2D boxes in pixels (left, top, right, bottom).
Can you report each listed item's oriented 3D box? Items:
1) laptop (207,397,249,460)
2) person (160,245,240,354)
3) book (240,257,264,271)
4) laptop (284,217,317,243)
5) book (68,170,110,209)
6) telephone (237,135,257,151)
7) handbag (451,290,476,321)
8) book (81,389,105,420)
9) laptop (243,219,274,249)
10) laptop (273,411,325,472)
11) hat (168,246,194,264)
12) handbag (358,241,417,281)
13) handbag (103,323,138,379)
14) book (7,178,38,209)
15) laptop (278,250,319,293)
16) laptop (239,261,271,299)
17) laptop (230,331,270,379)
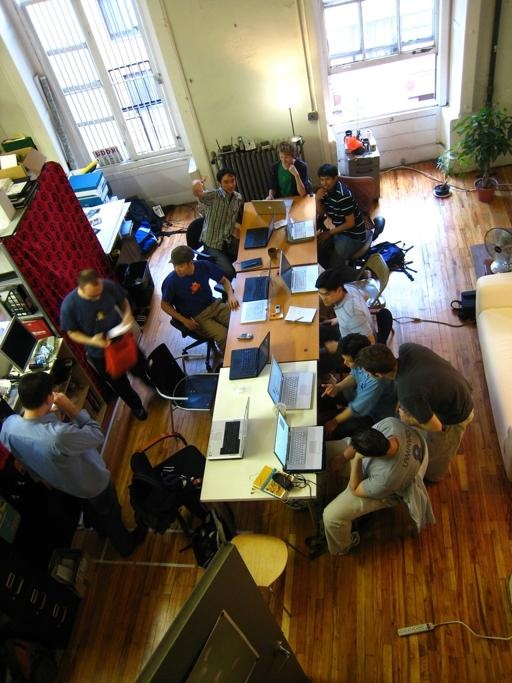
[{"bbox_3d":[-0.211,0.580,2.953,0.275,0.218,0.357,0,53,15],"label":"laptop"},{"bbox_3d":[-0.524,-0.386,4.464,0.575,1.013,0.510,20,78,23],"label":"person"},{"bbox_3d":[-0.053,-0.743,4.504,0.164,0.039,0.163,-6,39,6],"label":"book"},{"bbox_3d":[0.467,-1.131,4.754,0.253,0.229,0.354,-3,54,17],"label":"laptop"},{"bbox_3d":[-2.361,-2.154,6.564,0.467,0.411,0.438,-30,39,-11],"label":"book"},{"bbox_3d":[-0.150,-2.714,6.356,0.228,0.180,0.171,-17,39,5],"label":"telephone"},{"bbox_3d":[2.045,-0.340,4.474,0.303,0.138,0.228,-4,40,22],"label":"handbag"},{"bbox_3d":[-1.465,0.566,4.077,0.092,0.234,0.213,-11,38,11],"label":"book"},{"bbox_3d":[0.015,-1.093,4.817,0.395,0.092,0.264,12,77,37],"label":"laptop"},{"bbox_3d":[0.267,0.629,2.797,0.296,0.233,0.380,-4,51,16],"label":"laptop"},{"bbox_3d":[-0.640,-0.722,3.959,0.138,0.107,0.185,7,43,8],"label":"hat"},{"bbox_3d":[1.493,-0.948,5.200,0.630,0.190,0.483,9,85,10],"label":"handbag"},{"bbox_3d":[-1.161,0.081,3.856,0.117,0.428,0.308,25,53,21],"label":"handbag"},{"bbox_3d":[-1.937,-1.207,3.858,0.281,0.066,0.281,12,49,11],"label":"book"},{"bbox_3d":[0.395,-0.579,4.167,0.346,0.348,0.491,-6,54,19],"label":"laptop"},{"bbox_3d":[-0.009,-0.541,4.144,0.257,0.073,0.367,-4,51,17],"label":"laptop"},{"bbox_3d":[-0.065,0.124,3.472,0.322,0.212,0.346,0,49,9],"label":"laptop"}]
